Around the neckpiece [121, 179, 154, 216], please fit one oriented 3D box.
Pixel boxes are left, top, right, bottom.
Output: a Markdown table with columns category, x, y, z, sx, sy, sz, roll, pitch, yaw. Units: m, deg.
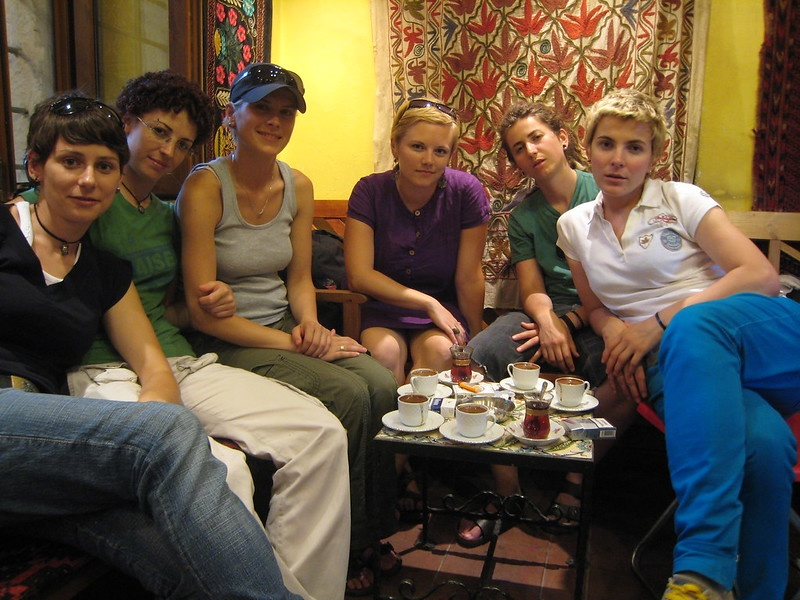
| category | x | y | z | sx | sy | sz | roll | pitch | yaw |
| --- | --- | --- | --- | --- | --- | --- | --- | --- | --- |
| neckpiece | -0.963 | -0.370 | 2.248 | 0.032 | 0.108 | 0.085 | -42 | -2 | 33 |

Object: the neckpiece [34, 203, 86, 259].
| category | x | y | z | sx | sy | sz | roll | pitch | yaw |
| --- | --- | --- | --- | --- | --- | --- | --- | --- | --- |
| neckpiece | -1.089 | -0.235 | 1.981 | 0.136 | 0.178 | 0.043 | -11 | 17 | 9 |

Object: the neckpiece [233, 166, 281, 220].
| category | x | y | z | sx | sy | sz | roll | pitch | yaw |
| --- | --- | --- | --- | --- | --- | --- | --- | --- | --- |
| neckpiece | -0.550 | -0.399 | 2.398 | 0.142 | 0.246 | 0.064 | -12 | 18 | -17 |

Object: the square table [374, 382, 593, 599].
| category | x | y | z | sx | sy | sz | roll | pitch | yaw |
| --- | --- | --- | --- | --- | --- | --- | --- | --- | --- |
| square table | 0.334 | 0.655 | 2.146 | 0.701 | 0.694 | 0.724 | 8 | 16 | 17 |

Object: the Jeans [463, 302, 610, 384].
| category | x | y | z | sx | sy | sz | roll | pitch | yaw |
| --- | --- | --- | --- | --- | --- | --- | --- | --- | --- |
| Jeans | 0.578 | 0.220 | 2.587 | 0.354 | 0.109 | 0.360 | 13 | 31 | -2 |

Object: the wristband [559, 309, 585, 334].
| category | x | y | z | sx | sy | sz | roll | pitch | yaw |
| --- | --- | --- | --- | --- | --- | --- | --- | --- | --- |
| wristband | 0.751 | 0.097 | 2.654 | 0.046 | 0.078 | 0.105 | -17 | 11 | -20 |

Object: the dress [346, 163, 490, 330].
| category | x | y | z | sx | sy | sz | roll | pitch | yaw |
| --- | --- | --- | --- | --- | --- | --- | --- | --- | --- |
| dress | 0.076 | -0.222 | 2.772 | 0.689 | 0.680 | 0.389 | 1 | 20 | -2 |

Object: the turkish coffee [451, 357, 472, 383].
| category | x | y | z | sx | sy | sz | roll | pitch | yaw |
| --- | --- | --- | --- | --- | --- | --- | --- | --- | --- |
| turkish coffee | 0.233 | 0.266 | 2.307 | 0.080 | 0.081 | 0.082 | -1 | -10 | 15 |

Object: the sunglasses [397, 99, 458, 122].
| category | x | y | z | sx | sy | sz | roll | pitch | yaw |
| --- | --- | --- | --- | --- | --- | --- | --- | --- | --- |
| sunglasses | 0.134 | -0.828 | 2.666 | 0.248 | 0.084 | 0.142 | -1 | 16 | -17 |

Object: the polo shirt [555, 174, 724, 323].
| category | x | y | z | sx | sy | sz | roll | pitch | yaw |
| --- | --- | --- | --- | --- | --- | --- | --- | --- | --- |
| polo shirt | 0.924 | -0.174 | 2.347 | 0.286 | 0.465 | 0.508 | -33 | 7 | -41 |

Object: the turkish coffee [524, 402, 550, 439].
| category | x | y | z | sx | sy | sz | roll | pitch | yaw |
| --- | --- | --- | --- | --- | --- | --- | --- | --- | --- |
| turkish coffee | 0.415 | 0.363 | 1.836 | 0.099 | 0.133 | 0.099 | 1 | -2 | 5 |
